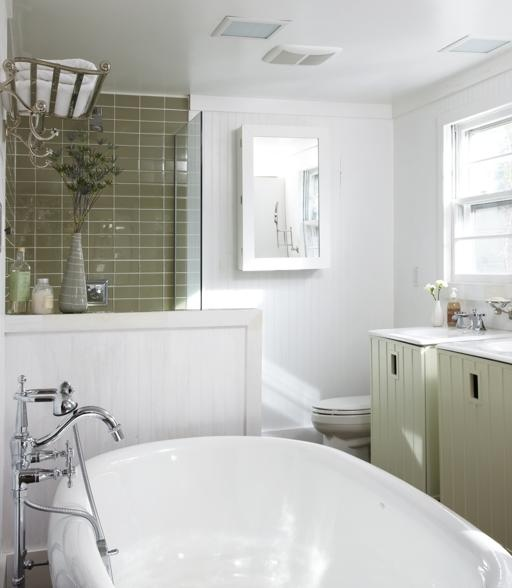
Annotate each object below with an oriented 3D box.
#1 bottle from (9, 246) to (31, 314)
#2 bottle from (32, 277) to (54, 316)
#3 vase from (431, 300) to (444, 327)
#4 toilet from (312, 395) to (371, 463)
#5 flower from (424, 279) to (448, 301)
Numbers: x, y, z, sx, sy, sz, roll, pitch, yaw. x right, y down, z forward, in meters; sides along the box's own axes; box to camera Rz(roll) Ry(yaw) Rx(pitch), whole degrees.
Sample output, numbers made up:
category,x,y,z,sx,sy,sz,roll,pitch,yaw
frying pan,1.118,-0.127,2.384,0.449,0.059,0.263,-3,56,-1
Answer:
category,x,y,z,sx,sy,sz,roll,pitch,yaw
bottle,-0.986,-0.057,2.071,0.081,0.272,0.213,-2,3,-27
bottle,-0.882,0.013,2.053,0.079,0.145,0.161,-2,3,-18
vase,1.040,0.116,2.874,0.056,0.146,0.078,0,3,22
toilet,0.508,0.821,3.008,0.377,0.384,0.318,-4,5,-35
flower,1.068,-0.017,2.969,0.135,0.160,0.118,1,16,27
